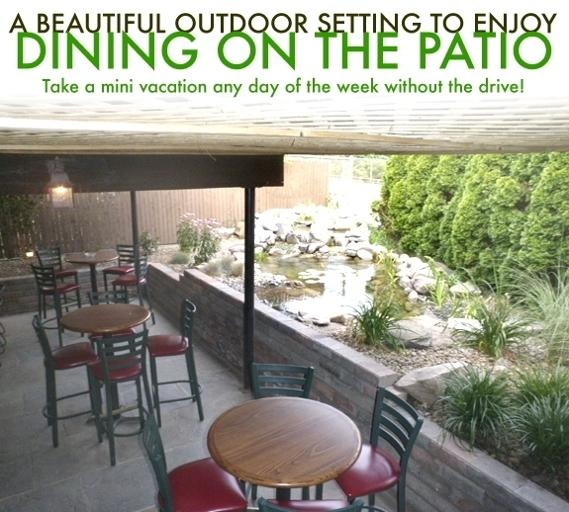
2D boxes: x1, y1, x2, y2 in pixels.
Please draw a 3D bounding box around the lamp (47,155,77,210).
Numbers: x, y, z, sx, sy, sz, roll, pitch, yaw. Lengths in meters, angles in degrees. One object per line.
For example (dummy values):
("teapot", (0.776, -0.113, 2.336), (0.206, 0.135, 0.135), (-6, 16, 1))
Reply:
("lamp", (-2.000, -0.659, 3.614), (0.184, 0.365, 0.703), (0, -1, -28))
